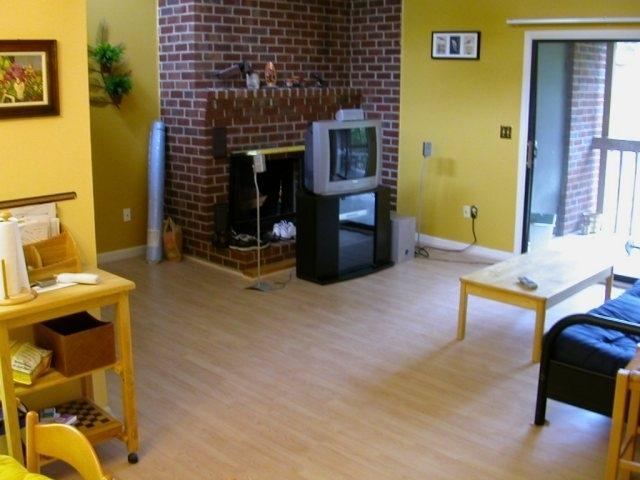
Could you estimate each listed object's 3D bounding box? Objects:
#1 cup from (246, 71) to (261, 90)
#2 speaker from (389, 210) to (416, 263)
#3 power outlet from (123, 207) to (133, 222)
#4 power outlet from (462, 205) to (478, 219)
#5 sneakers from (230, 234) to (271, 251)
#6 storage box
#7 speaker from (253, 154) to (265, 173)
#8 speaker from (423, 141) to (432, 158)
[{"bbox_3d":[-0.706,-1.668,5.515,0.154,0.173,0.357,-3,18,-6],"label":"cup"},{"bbox_3d":[0.877,-0.006,5.594,0.230,0.421,0.437,-8,18,-24],"label":"speaker"},{"bbox_3d":[-2.072,-0.268,5.591,0.053,0.187,0.129,13,14,43],"label":"power outlet"},{"bbox_3d":[1.680,-0.312,5.847,0.135,0.142,0.142,0,12,20],"label":"power outlet"},{"bbox_3d":[-0.718,0.029,5.383,0.442,0.189,0.170,-1,14,-8],"label":"sneakers"},{"bbox_3d":[-1.221,0.485,2.588,0.308,0.201,0.311,-13,24,-39],"label":"storage box"},{"bbox_3d":[-0.559,-0.699,4.820,0.097,0.188,0.214,-4,18,-10],"label":"speaker"},{"bbox_3d":[1.244,-1.037,6.060,0.116,0.185,0.132,5,18,17],"label":"speaker"}]
